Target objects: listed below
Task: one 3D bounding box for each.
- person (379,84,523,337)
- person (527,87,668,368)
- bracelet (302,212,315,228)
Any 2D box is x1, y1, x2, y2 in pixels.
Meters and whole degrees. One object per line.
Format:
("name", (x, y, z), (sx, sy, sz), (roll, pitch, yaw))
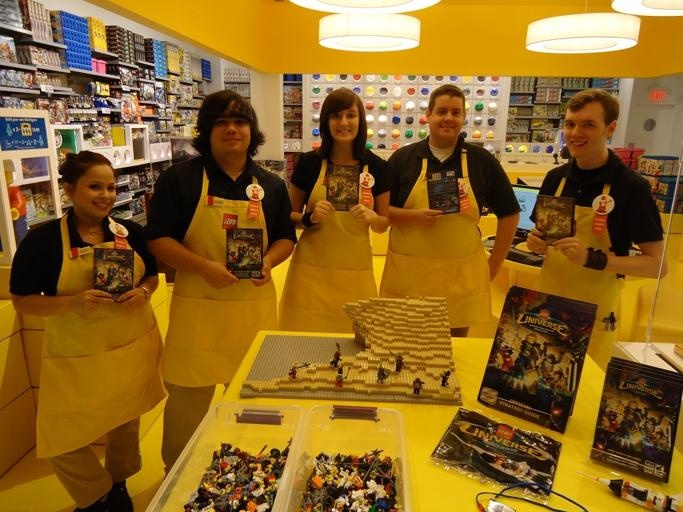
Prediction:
("person", (0.699, -0.233, 2.964), (0.883, 1.632, 0.583), (1, 16, 5))
("person", (1.452, -0.120, 2.638), (0.710, 1.574, 0.550), (10, 19, 32))
("bracelet", (-0.209, -0.229, 2.990), (0.079, 0.079, 0.081), (4, 24, 6))
